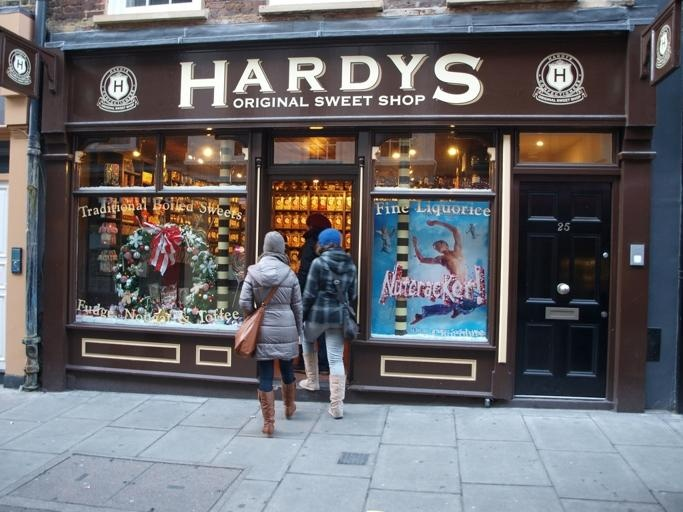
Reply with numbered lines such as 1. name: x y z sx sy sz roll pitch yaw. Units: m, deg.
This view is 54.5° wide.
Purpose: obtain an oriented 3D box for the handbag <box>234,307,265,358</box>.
1. handbag: -1.073 0.869 7.693 0.269 0.545 0.328 4 14 19

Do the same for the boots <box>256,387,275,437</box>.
1. boots: -0.871 1.805 7.762 0.169 0.518 0.291 -2 13 -8

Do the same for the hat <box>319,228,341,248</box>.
1. hat: -0.137 -0.219 8.266 0.271 0.218 0.195 5 5 15

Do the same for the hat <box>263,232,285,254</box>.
1. hat: -0.807 -0.155 8.045 0.278 0.254 0.211 4 -5 -43

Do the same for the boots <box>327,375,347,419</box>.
1. boots: -0.074 1.706 8.254 0.199 0.566 0.317 0 13 1

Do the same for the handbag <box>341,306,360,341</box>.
1. handbag: 0.123 0.804 8.188 0.154 0.442 0.289 6 15 28
